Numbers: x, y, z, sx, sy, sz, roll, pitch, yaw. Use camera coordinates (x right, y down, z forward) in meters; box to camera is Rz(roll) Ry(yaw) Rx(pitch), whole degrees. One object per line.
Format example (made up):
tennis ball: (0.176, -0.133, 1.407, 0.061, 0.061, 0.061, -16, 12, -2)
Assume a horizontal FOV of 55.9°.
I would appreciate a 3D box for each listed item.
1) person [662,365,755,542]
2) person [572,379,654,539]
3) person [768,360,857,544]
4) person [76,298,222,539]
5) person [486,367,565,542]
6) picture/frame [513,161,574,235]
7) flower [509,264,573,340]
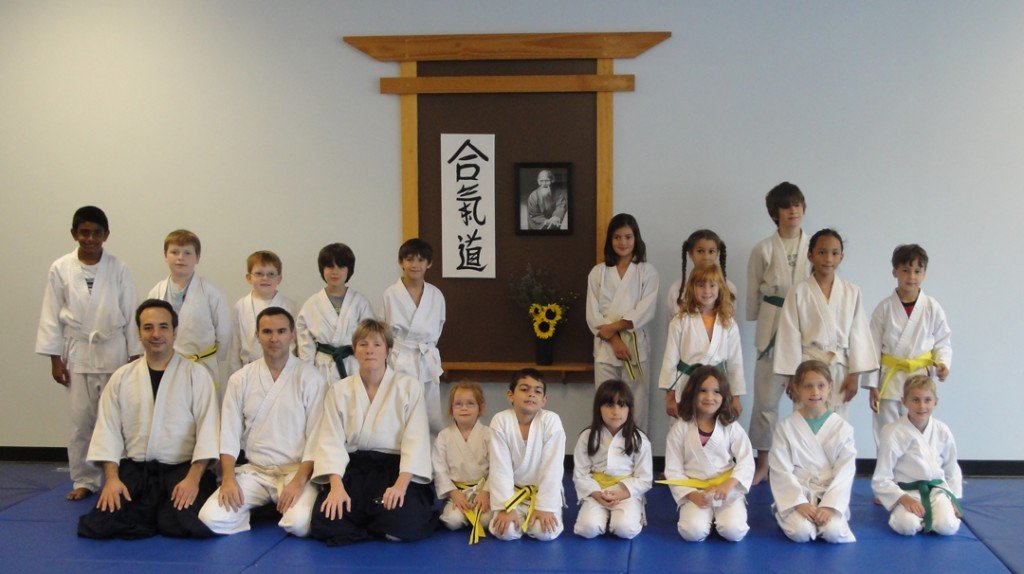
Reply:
person: (1.932, 1.606, 9.437, 0.845, 1.645, 0.533, 2, 2, 10)
person: (0.979, 1.666, 9.414, 0.748, 1.500, 0.375, 2, 2, 4)
person: (2.929, 1.576, 9.368, 0.824, 1.702, 0.471, 2, 2, 16)
person: (-3.521, 1.273, 9.462, 1.265, 2.285, 0.483, 1, 2, -2)
person: (0.144, 1.622, 9.398, 0.736, 1.608, 0.362, 1, 2, -1)
picture/frame: (0.373, -1.009, 10.814, 0.871, 1.022, 0.074, 0, 2, 2)
flower: (0.367, 0.154, 11.013, 0.787, 0.917, 0.832, 0, 3, -25)
